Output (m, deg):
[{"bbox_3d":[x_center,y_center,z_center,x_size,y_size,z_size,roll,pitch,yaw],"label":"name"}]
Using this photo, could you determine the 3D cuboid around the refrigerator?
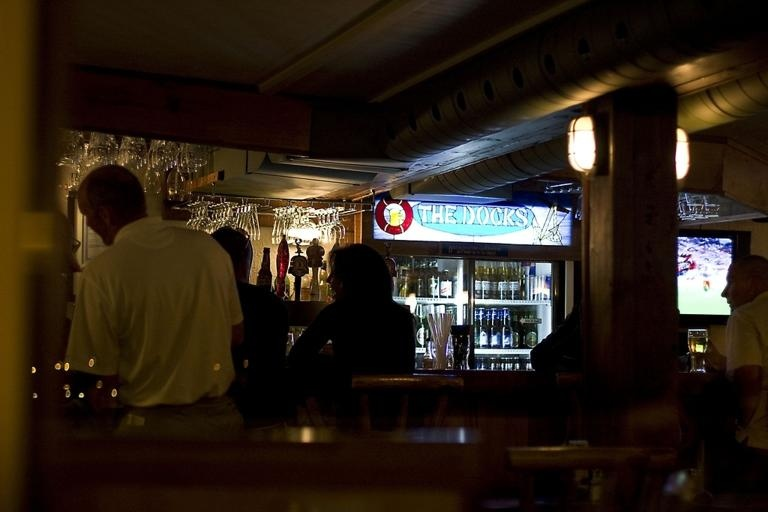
[{"bbox_3d":[0.748,0.199,6.072,1.741,1.540,0.566,1,-4,-14],"label":"refrigerator"}]

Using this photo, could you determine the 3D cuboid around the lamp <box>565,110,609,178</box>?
[{"bbox_3d":[1.017,-0.561,3.655,0.200,0.316,0.105,2,-2,14],"label":"lamp"}]
